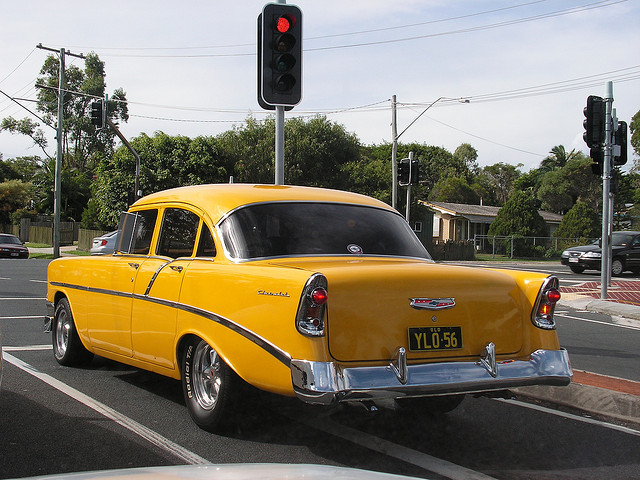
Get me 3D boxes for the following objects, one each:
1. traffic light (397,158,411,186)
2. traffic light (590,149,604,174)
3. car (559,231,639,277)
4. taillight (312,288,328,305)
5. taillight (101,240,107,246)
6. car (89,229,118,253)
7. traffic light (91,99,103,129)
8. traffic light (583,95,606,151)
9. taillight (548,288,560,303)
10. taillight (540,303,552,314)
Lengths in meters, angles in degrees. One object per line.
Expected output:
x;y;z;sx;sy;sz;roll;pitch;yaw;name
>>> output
3.750;-3.044;24.673;0.488;1.090;0.923;1;1;0;traffic light
7.078;-2.019;14.320;0.302;0.405;0.232;1;1;18;traffic light
12.813;0.633;25.064;4.522;1.598;1.983;1;0;35;car
0.000;0.398;4.061;0.104;0.110;0.064;15;3;-32;taillight
-7.453;0.079;19.403;0.273;0.194;0.121;2;1;38;taillight
-9.238;0.000;23.771;1.380;1.069;3.078;0;5;-17;car
-9.811;-5.702;24.796;0.444;1.281;0.810;1;1;-22;traffic light
6.781;-2.925;13.914;0.783;0.836;0.381;0;1;-37;traffic light
1.989;0.471;4.780;0.099;0.131;0.045;9;-16;-6;taillight
1.925;0.582;4.770;0.139;0.084;0.020;1;1;-28;taillight
